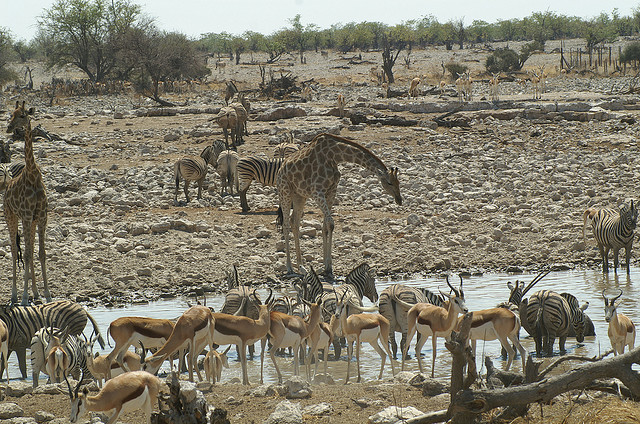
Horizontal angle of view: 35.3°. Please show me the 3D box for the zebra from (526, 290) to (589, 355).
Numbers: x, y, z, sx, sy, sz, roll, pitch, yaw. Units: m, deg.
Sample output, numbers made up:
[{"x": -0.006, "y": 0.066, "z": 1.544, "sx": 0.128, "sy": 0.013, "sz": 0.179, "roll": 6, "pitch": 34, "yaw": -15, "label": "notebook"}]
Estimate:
[{"x": 5.023, "y": 2.306, "z": 20.909, "sx": 0.680, "sy": 1.393, "sz": 2.044, "roll": -2, "pitch": -9, "yaw": 40, "label": "zebra"}]

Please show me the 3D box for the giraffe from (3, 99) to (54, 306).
[{"x": -6.371, "y": -0.201, "z": 21.532, "sx": 0.957, "sy": 4.308, "sz": 0.877, "roll": -1, "pitch": 3, "yaw": 33, "label": "giraffe"}]

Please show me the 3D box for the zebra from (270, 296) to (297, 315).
[{"x": -0.740, "y": 1.902, "z": 20.354, "sx": 0.530, "sy": 0.327, "sz": 0.821, "roll": -3, "pitch": 2, "yaw": -2, "label": "zebra"}]

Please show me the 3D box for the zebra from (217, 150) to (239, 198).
[{"x": -2.767, "y": -1.298, "z": 29.243, "sx": 0.624, "sy": 1.634, "sz": 2.238, "roll": -5, "pitch": 7, "yaw": -10, "label": "zebra"}]

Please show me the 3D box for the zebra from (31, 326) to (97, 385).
[{"x": -4.943, "y": 2.741, "z": 19.167, "sx": 1.126, "sy": 1.070, "sz": 0.545, "roll": -3, "pitch": 2, "yaw": -17, "label": "zebra"}]

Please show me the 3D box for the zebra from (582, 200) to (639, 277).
[{"x": 7.046, "y": 0.469, "z": 24.076, "sx": 0.736, "sy": 1.843, "sz": 2.684, "roll": -4, "pitch": 3, "yaw": -14, "label": "zebra"}]

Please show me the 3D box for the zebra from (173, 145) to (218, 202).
[{"x": -3.530, "y": -1.011, "z": 28.608, "sx": 0.580, "sy": 1.535, "sz": 1.763, "roll": 2, "pitch": 6, "yaw": 25, "label": "zebra"}]

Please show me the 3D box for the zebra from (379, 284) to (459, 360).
[{"x": 1.766, "y": 2.234, "z": 20.589, "sx": 1.097, "sy": 1.507, "sz": 0.507, "roll": -3, "pitch": 2, "yaw": 2, "label": "zebra"}]
